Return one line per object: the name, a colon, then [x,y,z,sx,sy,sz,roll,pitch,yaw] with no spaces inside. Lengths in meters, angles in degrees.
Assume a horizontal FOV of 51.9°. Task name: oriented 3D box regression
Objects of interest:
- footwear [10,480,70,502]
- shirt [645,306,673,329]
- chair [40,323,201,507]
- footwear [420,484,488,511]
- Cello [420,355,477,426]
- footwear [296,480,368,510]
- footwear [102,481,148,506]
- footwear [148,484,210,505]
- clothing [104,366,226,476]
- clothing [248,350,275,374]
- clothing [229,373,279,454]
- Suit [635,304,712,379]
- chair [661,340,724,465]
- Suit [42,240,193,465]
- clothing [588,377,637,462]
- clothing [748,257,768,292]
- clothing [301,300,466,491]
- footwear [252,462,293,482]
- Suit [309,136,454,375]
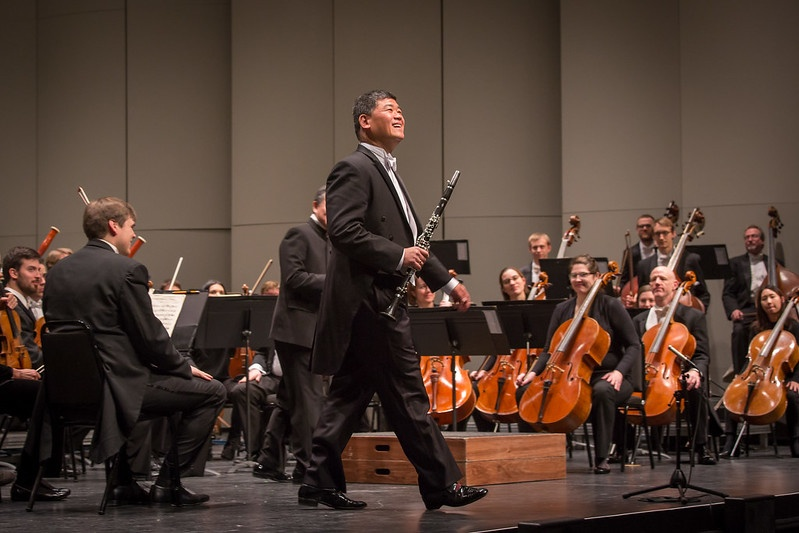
footwear: [-2.396,1.512,5.489,0.390,0.156,0.158,1,-4,-20]
shirt: [2.498,0.513,7.979,0.063,0.235,0.167,28,-4,-13]
chair: [-1.763,0.802,4.779,0.957,1.365,0.927,0,-8,-22]
footwear: [0.318,1.362,4.861,0.365,0.160,0.256,-1,-7,5]
Cello: [0.420,1.133,7.503,0.370,0.724,0.744,-14,-29,5]
footwear: [-0.434,1.392,5.017,0.465,0.181,0.154,1,-4,-2]
footwear: [-1.756,1.464,5.287,0.275,0.114,0.108,2,-7,-11]
footwear: [-1.388,1.426,5.210,0.386,0.145,0.138,1,-6,-5]
clothing: [-1.421,1.021,5.499,0.668,0.772,0.600,4,-2,8]
clothing: [-1.394,0.958,8.363,0.260,0.249,0.104,-2,-19,32]
clothing: [-1.367,1.412,7.877,0.278,0.735,0.462,5,-17,-18]
Suit: [2.545,0.703,7.667,0.469,0.881,0.317,-8,-43,46]
chair: [2.570,1.247,7.334,0.289,1.209,0.509,-17,-5,38]
Suit: [-1.746,0.493,5.065,0.901,1.336,0.368,2,-7,-16]
clothing: [1.675,1.249,6.717,0.176,0.633,0.368,13,-7,-24]
clothing: [4.253,0.098,9.823,0.242,0.424,0.127,1,-7,26]
clothing: [-0.166,0.691,4.945,1.010,1.273,0.659,-1,-16,-19]
footwear: [-0.976,1.591,6.393,0.319,0.147,0.118,18,-10,-3]
Suit: [-0.144,-0.058,4.909,0.732,1.386,0.333,1,-7,-8]
